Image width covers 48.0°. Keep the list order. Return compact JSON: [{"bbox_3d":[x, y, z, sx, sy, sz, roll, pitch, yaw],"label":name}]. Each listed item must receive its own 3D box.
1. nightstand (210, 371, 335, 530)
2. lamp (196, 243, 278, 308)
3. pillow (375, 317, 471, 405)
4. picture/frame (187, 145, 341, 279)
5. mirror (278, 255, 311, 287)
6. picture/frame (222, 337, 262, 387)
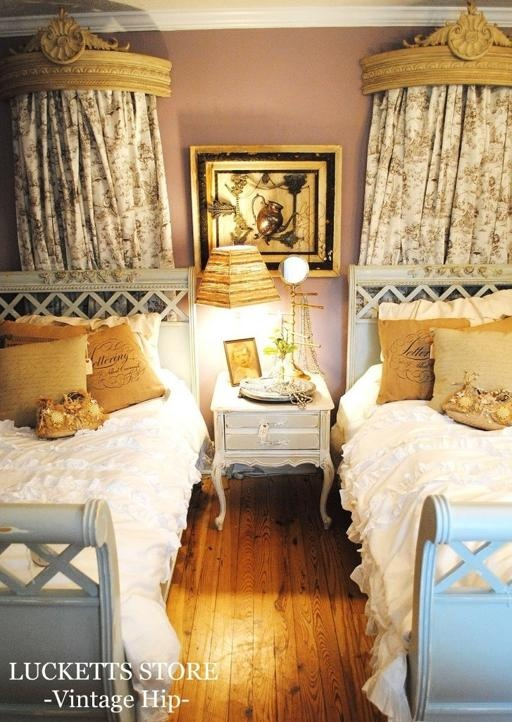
[{"bbox_3d":[0.081,0.378,2.622,0.518,0.534,0.630,0,16,1],"label":"nightstand"},{"bbox_3d":[-0.069,-0.355,2.547,0.309,0.212,0.303,-6,9,-38],"label":"lamp"},{"bbox_3d":[0.657,0.010,2.239,0.351,0.311,0.116,-1,-21,10],"label":"pillow"},{"bbox_3d":[0.034,-0.717,2.677,0.723,0.595,0.052,0,19,2],"label":"picture/frame"},{"bbox_3d":[0.167,-0.391,2.547,0.118,0.137,0.122,0,15,7],"label":"mirror"},{"bbox_3d":[-0.063,0.009,2.651,0.196,0.219,0.023,-18,6,-31],"label":"picture/frame"}]
